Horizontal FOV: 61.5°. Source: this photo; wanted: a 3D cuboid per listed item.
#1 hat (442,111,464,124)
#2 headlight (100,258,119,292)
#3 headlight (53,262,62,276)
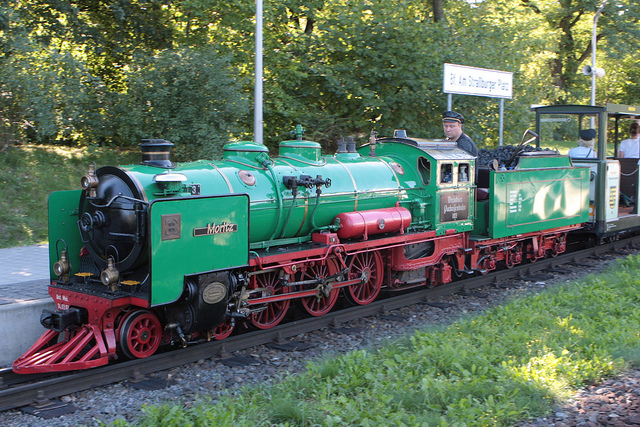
[{"bbox_3d":[2.991,-2.134,11.891,0.367,0.120,0.406,2,2,36],"label":"hat"},{"bbox_3d":[-2.960,0.870,7.669,0.242,0.449,0.272,-11,11,-43],"label":"headlight"},{"bbox_3d":[-3.938,0.832,8.082,0.212,0.191,0.061,4,11,43],"label":"headlight"}]
